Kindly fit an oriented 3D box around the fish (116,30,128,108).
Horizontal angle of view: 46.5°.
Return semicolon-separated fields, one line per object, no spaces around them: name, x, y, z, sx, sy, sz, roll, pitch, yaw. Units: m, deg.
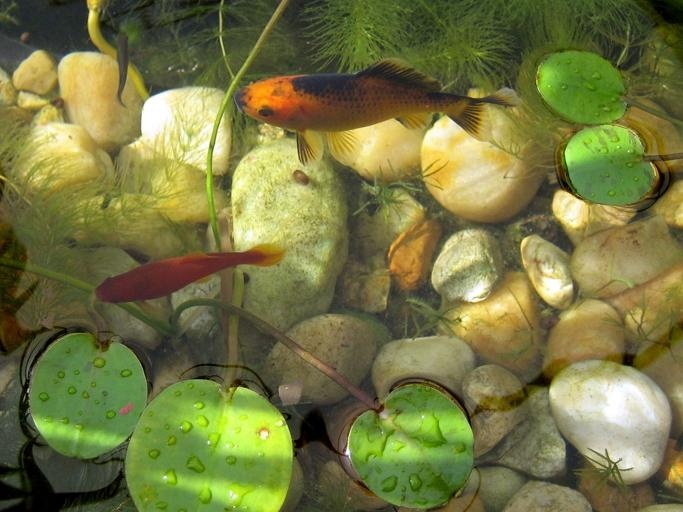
fish;-1.402;-1.211;5.127;0.072;0.163;0.475;2;87;1
